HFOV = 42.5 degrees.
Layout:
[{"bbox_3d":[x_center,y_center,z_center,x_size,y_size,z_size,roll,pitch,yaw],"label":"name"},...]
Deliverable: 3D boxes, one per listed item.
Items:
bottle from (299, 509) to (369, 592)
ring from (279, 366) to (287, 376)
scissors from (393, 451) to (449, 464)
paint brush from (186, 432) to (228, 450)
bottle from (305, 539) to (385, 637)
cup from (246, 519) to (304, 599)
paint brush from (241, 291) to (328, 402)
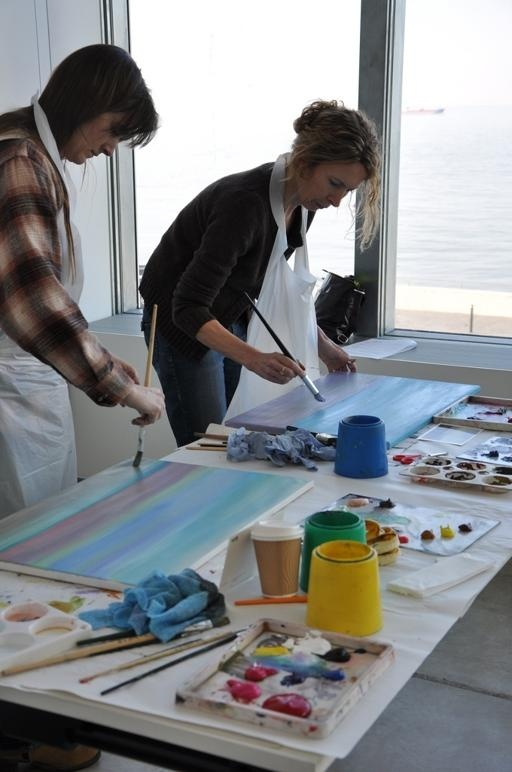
[{"bbox_3d":[0.086,0.193,0.842,0.107,0.100,0.099,0,17,1],"label":"bottle"},{"bbox_3d":[0.067,-0.041,1.596,0.018,0.022,0.006,0,-2,6],"label":"ring"},{"bbox_3d":[0.332,0.150,1.399,0.081,0.008,0.041,-4,8,-26],"label":"scissors"},{"bbox_3d":[-0.101,0.126,1.512,0.066,0.016,0.040,0,20,15],"label":"paint brush"},{"bbox_3d":[0.098,0.221,0.753,0.102,0.085,0.093,-2,18,-1],"label":"bottle"},{"bbox_3d":[0.028,0.219,0.862,0.090,0.093,0.085,-3,6,0],"label":"cup"},{"bbox_3d":[0.075,-0.116,1.916,0.050,0.505,0.029,-46,36,-11],"label":"paint brush"}]
